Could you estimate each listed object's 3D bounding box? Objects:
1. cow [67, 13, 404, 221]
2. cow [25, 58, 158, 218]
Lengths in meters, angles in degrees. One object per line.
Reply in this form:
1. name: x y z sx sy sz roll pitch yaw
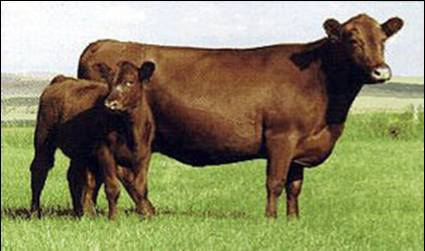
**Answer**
1. cow: 0.781 0.037 12.514 7.628 4.714 2.426 -2 6 13
2. cow: -2.739 0.359 11.971 2.312 3.551 5.111 -6 6 -40
